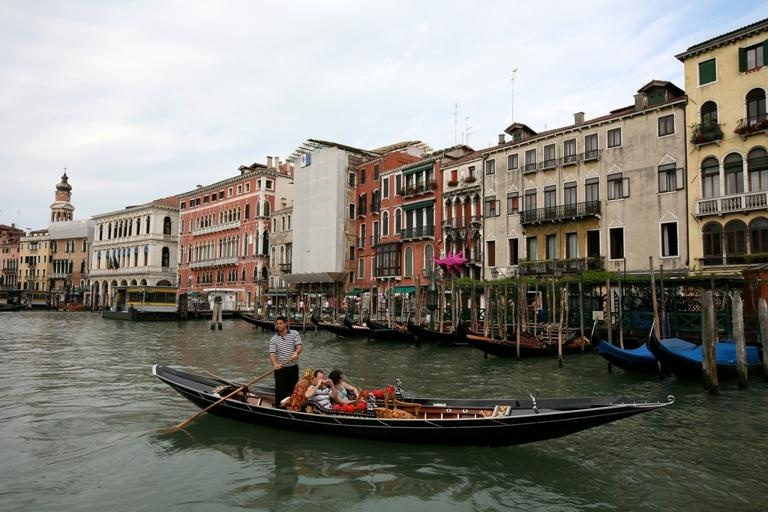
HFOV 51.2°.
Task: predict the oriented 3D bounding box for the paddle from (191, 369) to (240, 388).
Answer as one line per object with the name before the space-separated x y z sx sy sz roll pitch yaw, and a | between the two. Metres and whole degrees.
paddle | -6.684 4.913 31.863 1.740 0.222 0.351 30 10 -37
